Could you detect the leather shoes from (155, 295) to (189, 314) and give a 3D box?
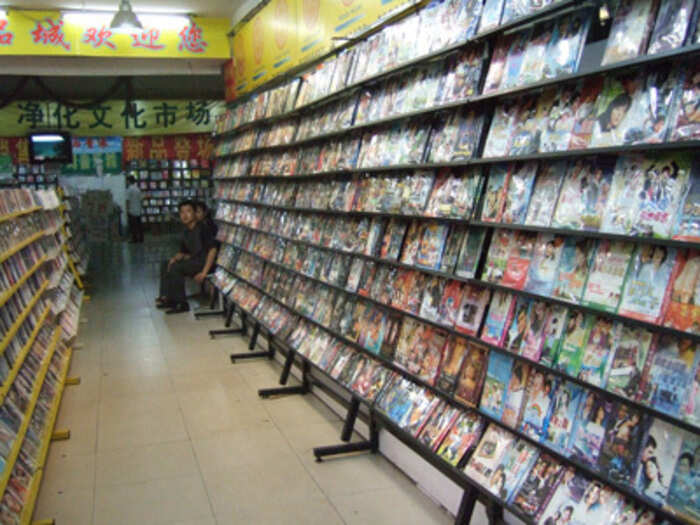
[{"bbox_3d":[-2.745,0.671,7.138,0.432,0.170,0.267,12,-2,-38],"label":"leather shoes"}]
